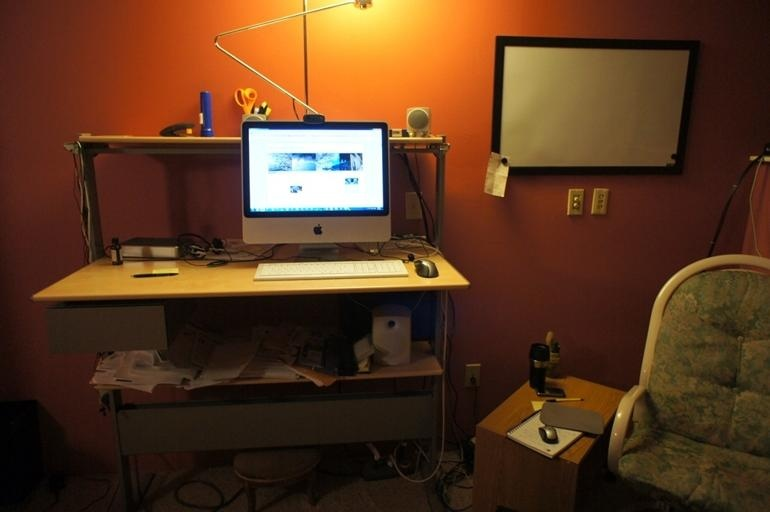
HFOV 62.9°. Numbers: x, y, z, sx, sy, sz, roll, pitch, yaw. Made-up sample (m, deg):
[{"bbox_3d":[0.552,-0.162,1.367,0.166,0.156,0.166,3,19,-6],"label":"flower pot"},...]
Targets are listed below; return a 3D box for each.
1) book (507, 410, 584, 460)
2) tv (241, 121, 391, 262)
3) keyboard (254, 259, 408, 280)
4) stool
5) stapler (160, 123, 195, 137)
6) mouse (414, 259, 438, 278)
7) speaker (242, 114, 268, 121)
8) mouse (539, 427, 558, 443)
[{"bbox_3d":[0.748,0.845,2.951,0.284,0.099,0.226,9,17,37],"label":"book"},{"bbox_3d":[-0.344,-0.344,3.090,0.695,0.600,0.228,-1,1,-5],"label":"tv"},{"bbox_3d":[-0.252,0.063,2.963,0.705,0.055,0.170,-2,13,-5],"label":"keyboard"},{"bbox_3d":[-0.533,1.059,3.149,0.439,0.227,0.283,-3,18,-14],"label":"stool"},{"bbox_3d":[-1.018,-0.612,3.046,0.116,0.039,0.100,10,20,30],"label":"stapler"},{"bbox_3d":[0.186,0.058,2.946,0.125,0.069,0.090,3,14,17],"label":"mouse"},{"bbox_3d":[-0.643,-0.688,3.112,0.109,0.027,0.052,-6,14,-19],"label":"speaker"},{"bbox_3d":[0.763,0.829,2.931,0.091,0.058,0.081,3,14,18],"label":"mouse"}]
